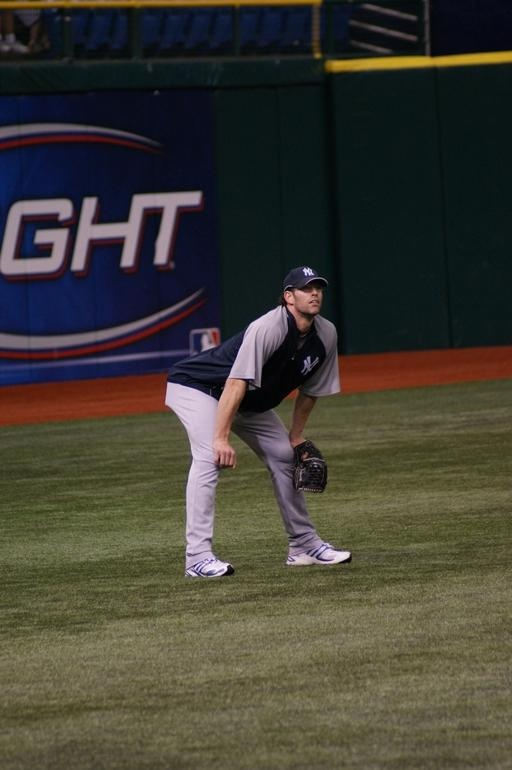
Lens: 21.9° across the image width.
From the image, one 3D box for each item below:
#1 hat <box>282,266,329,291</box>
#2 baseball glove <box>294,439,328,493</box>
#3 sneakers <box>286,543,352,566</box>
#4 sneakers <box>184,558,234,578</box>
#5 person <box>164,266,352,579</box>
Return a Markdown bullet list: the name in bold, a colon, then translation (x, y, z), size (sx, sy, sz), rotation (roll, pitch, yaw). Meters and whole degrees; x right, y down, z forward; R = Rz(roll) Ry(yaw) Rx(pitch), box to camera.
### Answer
- **hat**: translation (0.158, -0.361, 4.482), size (0.121, 0.082, 0.160), rotation (1, -9, -39)
- **baseball glove**: translation (0.200, 0.278, 4.792), size (0.150, 0.101, 0.258), rotation (-4, 12, 1)
- **sneakers**: translation (0.231, 0.628, 4.804), size (0.233, 0.106, 0.083), rotation (-4, -10, 6)
- **sneakers**: translation (-0.161, 0.639, 4.580), size (0.155, 0.067, 0.068), rotation (-6, -7, 26)
- **person**: translation (0.026, 0.131, 4.680), size (0.628, 1.074, 0.553), rotation (-5, 7, -14)
